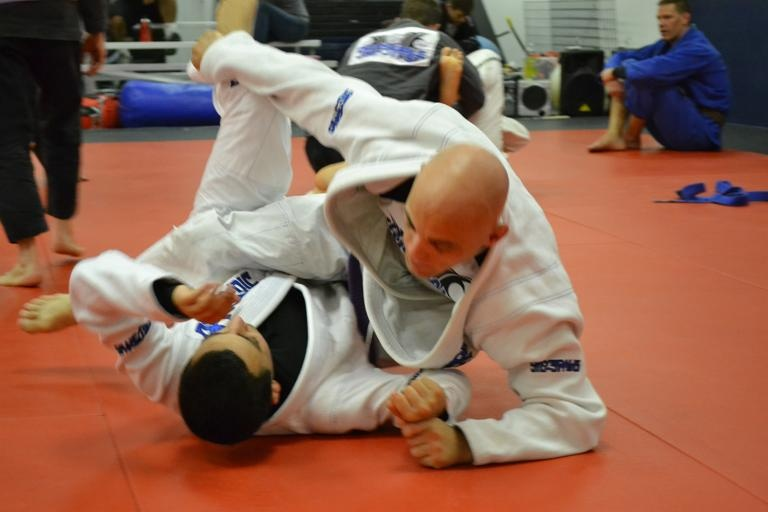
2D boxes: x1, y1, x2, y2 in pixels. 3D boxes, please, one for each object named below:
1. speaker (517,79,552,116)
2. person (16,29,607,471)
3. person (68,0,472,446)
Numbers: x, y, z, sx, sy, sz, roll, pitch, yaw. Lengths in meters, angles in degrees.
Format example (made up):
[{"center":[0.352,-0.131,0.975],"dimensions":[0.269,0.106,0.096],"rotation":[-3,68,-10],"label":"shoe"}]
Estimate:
[{"center":[1.557,-1.667,7.047],"dimensions":[0.394,0.382,0.408],"rotation":[-1,-5,-1],"label":"speaker"},{"center":[-0.215,-0.058,1.601],"dimensions":[0.914,0.964,1.291],"rotation":[-13,23,-41],"label":"person"},{"center":[-0.255,-0.024,1.779],"dimensions":[0.930,0.407,1.055],"rotation":[26,44,8],"label":"person"}]
